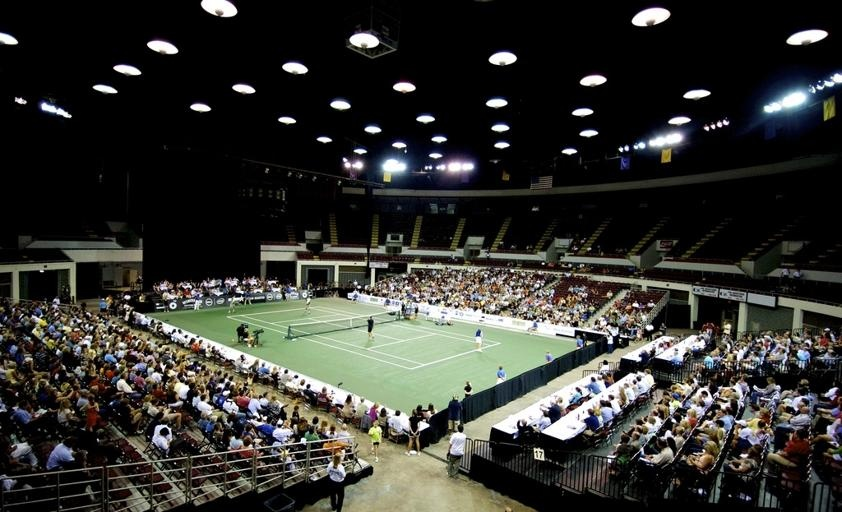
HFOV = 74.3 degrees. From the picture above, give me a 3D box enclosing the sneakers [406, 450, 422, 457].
[{"bbox_3d":[-0.390,9.162,25.858,0.273,0.188,0.470,6,-10,-42],"label":"sneakers"}]
